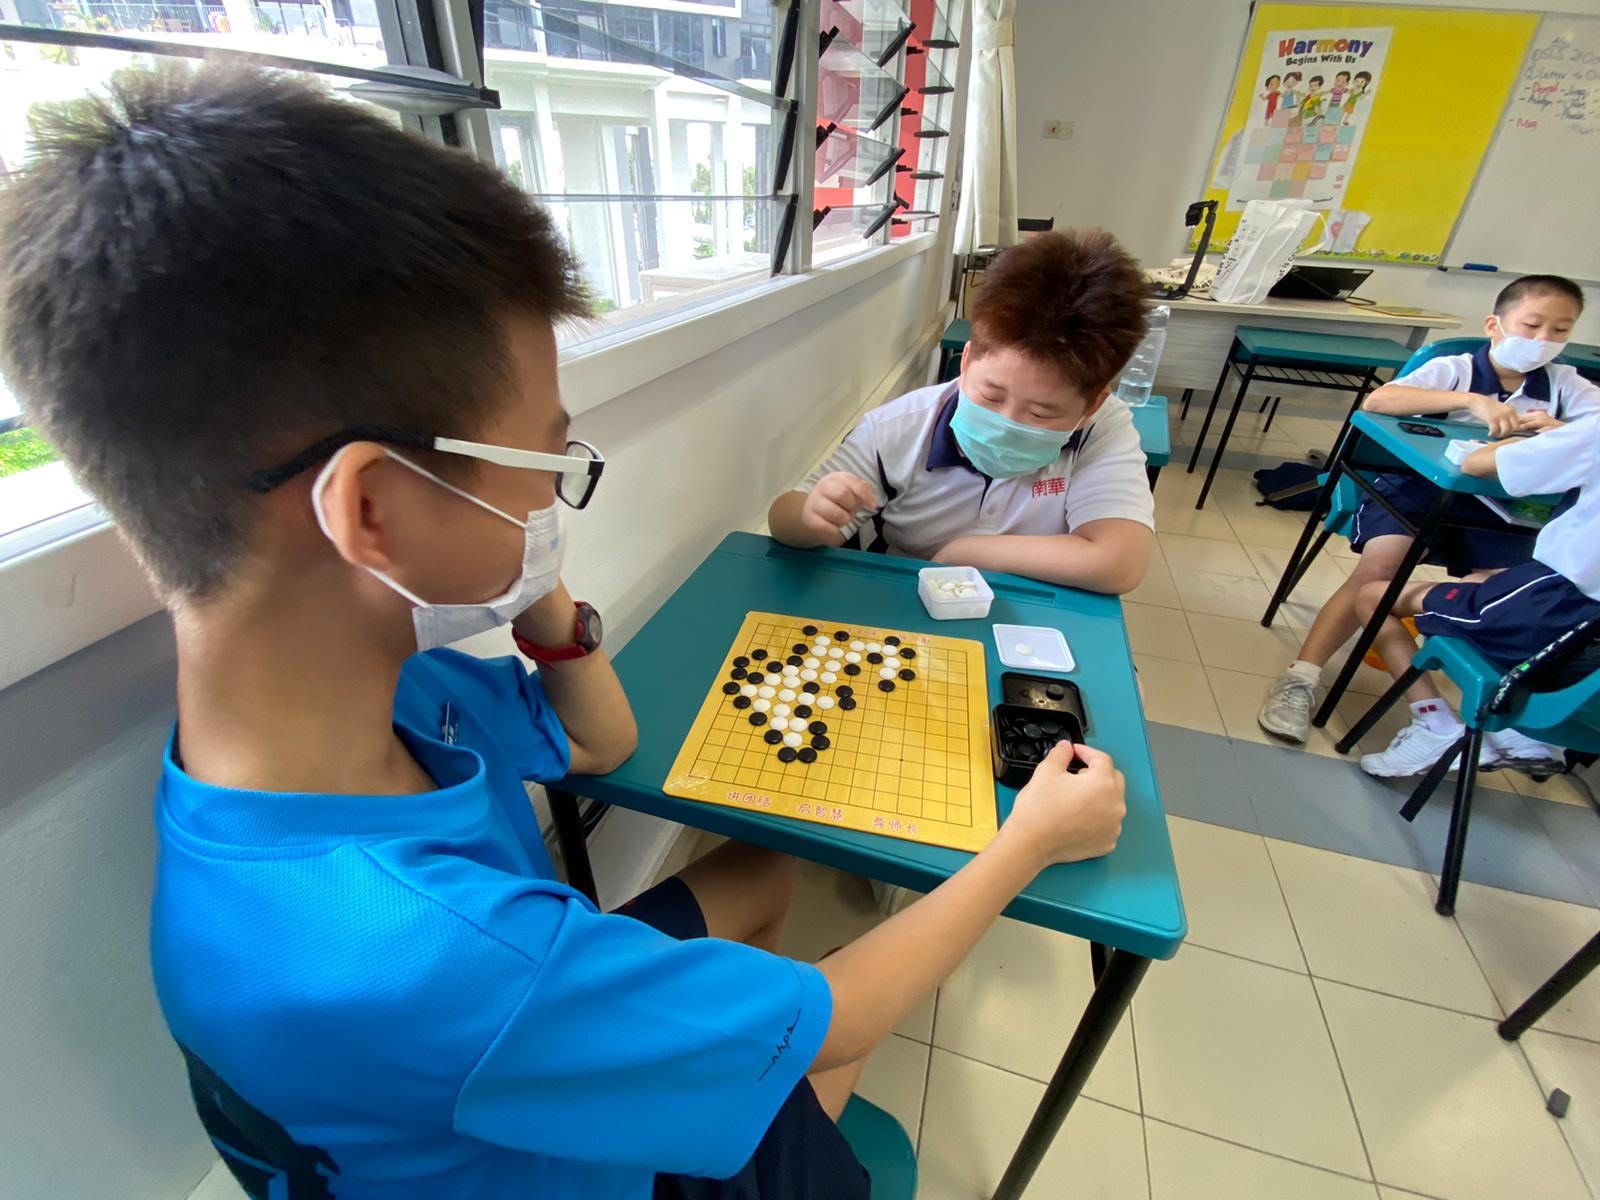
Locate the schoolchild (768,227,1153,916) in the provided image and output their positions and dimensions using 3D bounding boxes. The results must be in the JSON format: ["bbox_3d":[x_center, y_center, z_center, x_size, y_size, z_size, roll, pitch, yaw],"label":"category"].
[{"bbox_3d":[0.349,-0.239,1.833,0.677,0.748,0.555,28,52,22],"label":"schoolchild"}]

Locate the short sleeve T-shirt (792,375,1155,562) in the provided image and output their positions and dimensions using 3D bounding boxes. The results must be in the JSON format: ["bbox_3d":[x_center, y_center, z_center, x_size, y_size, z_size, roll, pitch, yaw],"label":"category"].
[{"bbox_3d":[0.370,-0.235,1.881,0.486,0.107,0.453,12,44,16],"label":"short sleeve T-shirt"}]

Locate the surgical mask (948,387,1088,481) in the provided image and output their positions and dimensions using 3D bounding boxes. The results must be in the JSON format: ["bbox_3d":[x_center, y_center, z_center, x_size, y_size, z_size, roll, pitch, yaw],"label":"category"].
[{"bbox_3d":[0.383,-0.275,1.622,0.151,0.079,0.144,25,-5,-29],"label":"surgical mask"}]

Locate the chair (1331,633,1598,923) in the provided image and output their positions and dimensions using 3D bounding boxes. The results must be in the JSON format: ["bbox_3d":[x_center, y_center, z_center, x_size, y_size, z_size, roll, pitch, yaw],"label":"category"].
[{"bbox_3d":[1.352,0.232,1.960,0.260,0.615,0.533,17,35,16],"label":"chair"}]

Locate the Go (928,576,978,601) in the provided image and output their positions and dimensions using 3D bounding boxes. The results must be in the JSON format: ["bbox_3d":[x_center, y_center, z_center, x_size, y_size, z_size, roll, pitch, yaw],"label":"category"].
[{"bbox_3d":[0.237,-0.017,1.491,0.046,0.012,0.044,8,23,21],"label":"Go"}]

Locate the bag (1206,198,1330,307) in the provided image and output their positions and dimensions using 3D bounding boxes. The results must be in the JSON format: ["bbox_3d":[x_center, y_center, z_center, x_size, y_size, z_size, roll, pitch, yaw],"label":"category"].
[{"bbox_3d":[1.665,-1.234,3.545,0.157,0.390,0.403,-7,39,-27],"label":"bag"}]

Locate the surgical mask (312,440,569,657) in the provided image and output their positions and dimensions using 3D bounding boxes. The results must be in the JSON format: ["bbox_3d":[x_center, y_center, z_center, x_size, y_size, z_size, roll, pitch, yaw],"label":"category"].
[{"bbox_3d":[-0.325,-0.047,0.996,0.233,0.090,0.195,-16,62,-6],"label":"surgical mask"}]

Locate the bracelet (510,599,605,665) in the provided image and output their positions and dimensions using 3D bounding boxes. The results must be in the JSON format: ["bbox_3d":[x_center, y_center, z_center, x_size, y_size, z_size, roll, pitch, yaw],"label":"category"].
[{"bbox_3d":[-0.298,0.042,1.234,0.095,0.036,0.085,-15,63,-2],"label":"bracelet"}]

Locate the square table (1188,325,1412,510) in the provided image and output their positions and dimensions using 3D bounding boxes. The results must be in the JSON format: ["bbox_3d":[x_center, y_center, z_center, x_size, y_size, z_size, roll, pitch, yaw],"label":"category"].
[{"bbox_3d":[1.802,-0.665,3.546,0.774,0.666,0.533,8,44,12],"label":"square table"}]
